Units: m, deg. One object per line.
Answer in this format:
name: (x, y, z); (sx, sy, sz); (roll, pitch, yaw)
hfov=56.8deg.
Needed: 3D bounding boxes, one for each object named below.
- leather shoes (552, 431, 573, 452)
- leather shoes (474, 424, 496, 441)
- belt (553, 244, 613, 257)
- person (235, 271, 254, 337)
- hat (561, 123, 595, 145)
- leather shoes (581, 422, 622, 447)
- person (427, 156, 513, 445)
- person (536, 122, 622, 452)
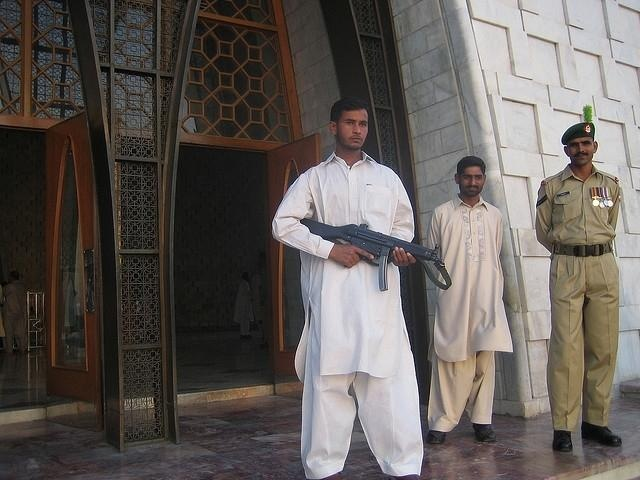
leather shoes: (1.677, 1.395, 4.103); (0.130, 0.130, 0.127); (-5, -5, 22)
leather shoes: (1.218, 1.431, 4.393); (0.158, 0.117, 0.132); (-5, -5, 23)
belt: (1.918, 0.078, 4.329); (0.400, 0.113, 0.167); (-5, -5, 21)
person: (-1.707, 1.510, 13.108); (0.402, 1.321, 0.483); (-2, -4, -11)
hat: (1.889, -0.787, 4.365); (0.163, 0.087, 0.189); (-7, 1, -36)
leather shoes: (1.995, 1.392, 4.219); (0.107, 0.246, 0.277); (3, -12, -37)
person: (1.102, 0.442, 4.515); (0.636, 2.119, 0.409); (-4, -4, 16)
person: (1.905, 0.311, 4.288); (0.595, 2.302, 0.485); (-4, -4, 17)
